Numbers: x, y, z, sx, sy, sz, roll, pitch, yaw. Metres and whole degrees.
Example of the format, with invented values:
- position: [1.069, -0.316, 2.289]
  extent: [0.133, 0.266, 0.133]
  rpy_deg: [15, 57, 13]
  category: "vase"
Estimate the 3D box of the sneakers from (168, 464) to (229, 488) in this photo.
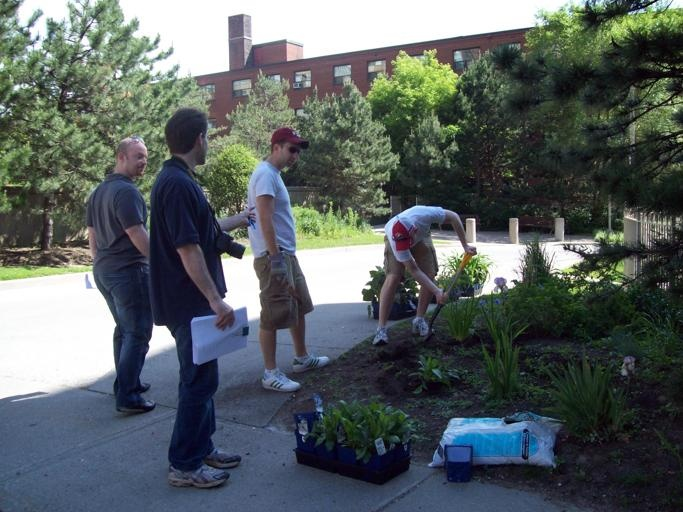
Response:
- position: [-1.085, 1.638, 4.453]
  extent: [0.421, 0.243, 0.180]
  rpy_deg: [0, -1, -1]
  category: "sneakers"

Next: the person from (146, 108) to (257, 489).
- position: [-1.112, 0.294, 4.446]
  extent: [0.705, 2.822, 0.689]
  rpy_deg: [-4, 10, -7]
  category: "person"

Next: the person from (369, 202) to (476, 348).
- position: [0.944, 0.254, 6.960]
  extent: [1.040, 1.359, 1.624]
  rpy_deg: [-2, -27, 0]
  category: "person"

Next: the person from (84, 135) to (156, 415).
- position: [-2.083, 0.360, 5.606]
  extent: [0.543, 2.277, 0.935]
  rpy_deg: [-7, 11, -23]
  category: "person"

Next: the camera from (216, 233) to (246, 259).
- position: [-0.884, -0.045, 4.610]
  extent: [0.193, 0.122, 0.190]
  rpy_deg: [30, 24, -10]
  category: "camera"

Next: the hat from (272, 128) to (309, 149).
- position: [-0.529, -1.220, 5.981]
  extent: [0.297, 0.183, 0.224]
  rpy_deg: [1, 11, -6]
  category: "hat"

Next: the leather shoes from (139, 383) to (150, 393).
- position: [-2.065, 1.379, 6.073]
  extent: [0.052, 0.076, 0.167]
  rpy_deg: [1, 8, 3]
  category: "leather shoes"

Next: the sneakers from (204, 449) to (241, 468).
- position: [-0.948, 1.614, 4.644]
  extent: [0.229, 0.115, 0.128]
  rpy_deg: [2, 2, 1]
  category: "sneakers"

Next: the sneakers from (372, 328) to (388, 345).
- position: [0.431, 0.925, 6.613]
  extent: [0.206, 0.206, 0.220]
  rpy_deg: [-1, 11, 15]
  category: "sneakers"

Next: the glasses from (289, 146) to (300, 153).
- position: [-0.486, -1.088, 5.930]
  extent: [0.072, 0.034, 0.077]
  rpy_deg: [1, -4, 6]
  category: "glasses"

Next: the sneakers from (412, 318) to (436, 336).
- position: [0.941, 0.821, 6.697]
  extent: [0.111, 0.139, 0.293]
  rpy_deg: [-4, -2, -25]
  category: "sneakers"

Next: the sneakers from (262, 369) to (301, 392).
- position: [-0.617, 1.250, 5.974]
  extent: [0.410, 0.233, 0.179]
  rpy_deg: [4, 6, 8]
  category: "sneakers"

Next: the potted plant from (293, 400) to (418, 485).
- position: [0.107, 1.336, 4.547]
  extent: [0.686, 0.409, 0.575]
  rpy_deg: [1, 4, 30]
  category: "potted plant"

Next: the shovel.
- position: [1.288, 0.547, 7.122]
  extent: [0.150, 1.108, 0.142]
  rpy_deg: [3, -30, 40]
  category: "shovel"

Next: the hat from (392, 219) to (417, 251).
- position: [0.688, -0.238, 6.470]
  extent: [0.206, 0.333, 0.149]
  rpy_deg: [8, -1, 33]
  category: "hat"
